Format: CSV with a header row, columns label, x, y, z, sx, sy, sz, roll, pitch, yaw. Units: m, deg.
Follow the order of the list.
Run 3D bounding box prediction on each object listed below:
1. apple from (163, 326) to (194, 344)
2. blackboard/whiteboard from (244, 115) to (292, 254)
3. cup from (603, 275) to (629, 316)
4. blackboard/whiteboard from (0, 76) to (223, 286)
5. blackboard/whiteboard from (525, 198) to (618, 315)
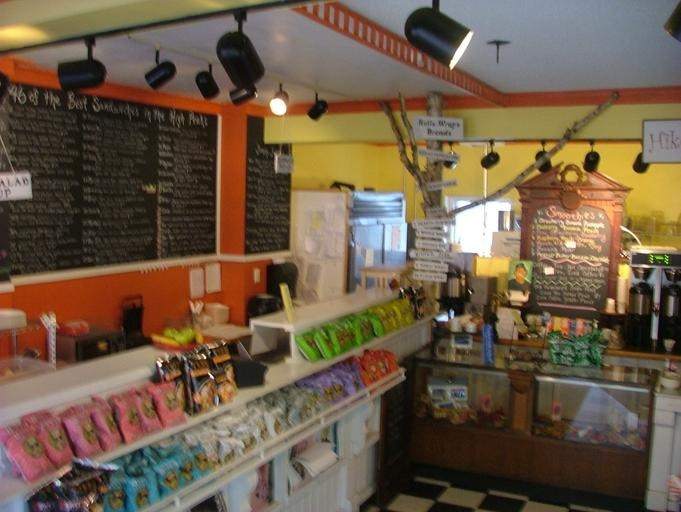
label,x,y,z,sx,sy,sz,roll,pitch,yaw
apple,-1.092,0.536,3.676,0.127,0.051,0.130,2,6,-6
blackboard/whiteboard,-1.012,-1.001,7.559,0.256,1.896,0.951,0,7,26
cup,3.365,0.481,6.453,0.374,0.436,0.395,0,4,0
blackboard/whiteboard,-2.535,-0.837,5.796,0.034,1.473,2.313,5,6,33
blackboard/whiteboard,2.995,0.023,6.803,1.349,2.004,0.079,3,4,18
